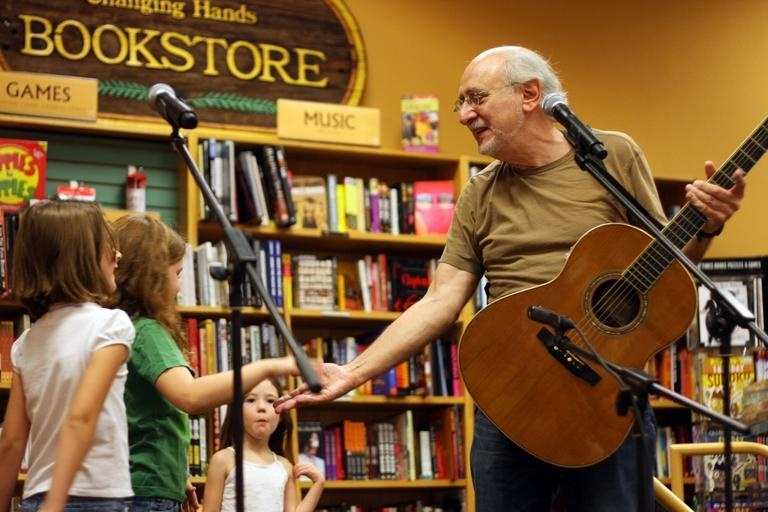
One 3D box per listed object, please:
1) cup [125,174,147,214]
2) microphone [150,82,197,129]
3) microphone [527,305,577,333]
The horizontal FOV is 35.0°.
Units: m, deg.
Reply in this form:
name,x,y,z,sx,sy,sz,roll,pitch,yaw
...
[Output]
name,x,y,z,sx,sy,sz,roll,pitch,yaw
cup,-1.379,-0.346,6.743,0.096,0.240,0.091,5,26,-3
microphone,-0.844,-0.594,4.831,0.103,0.193,0.252,6,-4,-39
microphone,0.647,0.254,4.819,0.177,0.098,0.333,4,-3,4
